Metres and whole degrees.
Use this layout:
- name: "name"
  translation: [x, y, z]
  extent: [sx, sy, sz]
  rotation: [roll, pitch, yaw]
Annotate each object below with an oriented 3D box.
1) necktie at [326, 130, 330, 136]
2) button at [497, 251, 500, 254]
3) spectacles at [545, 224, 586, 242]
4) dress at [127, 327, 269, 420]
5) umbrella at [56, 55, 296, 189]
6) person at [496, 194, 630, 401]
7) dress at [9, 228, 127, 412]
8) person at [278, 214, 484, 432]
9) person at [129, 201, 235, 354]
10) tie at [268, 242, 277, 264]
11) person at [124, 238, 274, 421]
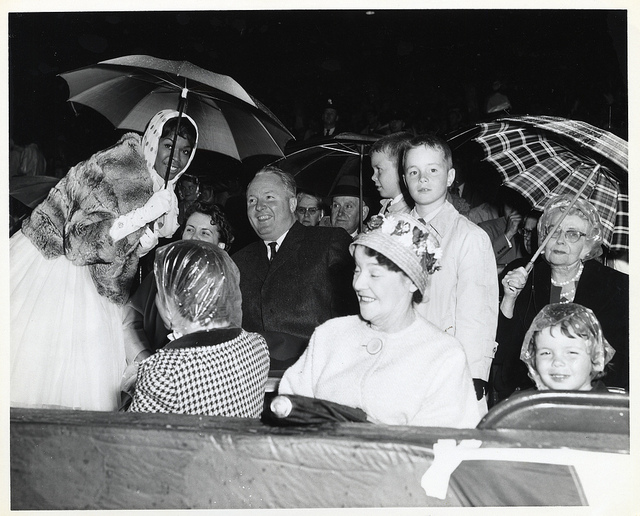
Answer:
- name: "necktie"
  translation: [0.077, -1.157, 5.081]
  extent: [0.044, 0.052, 0.043]
  rotation: [8, -5, -24]
- name: "button"
  translation: [1.337, -0.040, 4.147]
  extent: [0.021, 0.022, 0.005]
  rotation: [-5, -1, -3]
- name: "spectacles"
  translation: [1.574, -0.159, 3.548]
  extent: [0.232, 0.091, 0.073]
  rotation: [8, 4, 25]
- name: "dress"
  translation: [-0.569, 0.583, 2.710]
  extent: [0.531, 0.532, 0.277]
  rotation: [-2, 20, -29]
- name: "umbrella"
  translation: [-1.315, -1.348, 4.862]
  extent: [1.620, 0.695, 1.716]
  rotation: [21, 26, 35]
- name: "person"
  translation: [1.680, 0.186, 3.837]
  extent: [0.814, 1.478, 0.611]
  rotation: [-2, -19, 19]
- name: "dress"
  translation: [-1.785, 0.418, 3.816]
  extent: [0.920, 1.134, 0.516]
  rotation: [5, 4, -7]
- name: "person"
  translation: [0.342, 0.303, 2.848]
  extent: [1.032, 0.994, 0.501]
  rotation: [5, 1, 41]
- name: "person"
  translation: [-1.046, 0.089, 3.999]
  extent: [0.708, 1.230, 0.287]
  rotation: [18, -14, -22]
- name: "tie"
  translation: [-0.340, -0.049, 3.945]
  extent: [0.029, 0.115, 0.082]
  rotation: [6, -14, -24]
- name: "person"
  translation: [-0.646, 0.416, 2.980]
  extent: [0.827, 0.945, 0.531]
  rotation: [-9, 29, -22]
